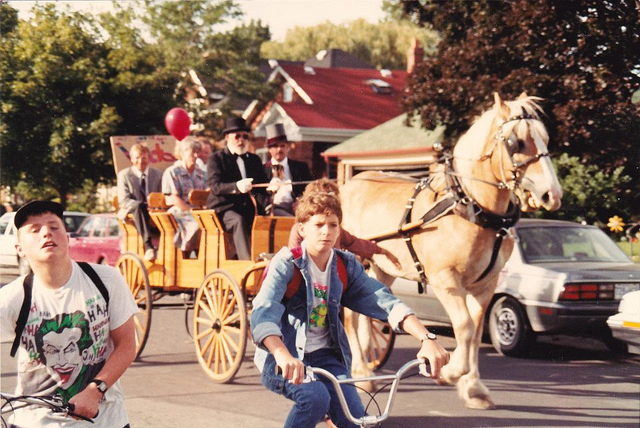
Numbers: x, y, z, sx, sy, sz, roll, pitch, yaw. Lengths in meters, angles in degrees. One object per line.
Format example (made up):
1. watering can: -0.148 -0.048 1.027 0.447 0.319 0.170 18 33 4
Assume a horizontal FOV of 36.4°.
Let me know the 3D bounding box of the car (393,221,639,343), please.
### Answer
1. car: 3.238 0.932 15.823 2.125 1.357 3.370 -1 0 -37

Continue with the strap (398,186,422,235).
1. strap: 1.265 -0.028 13.589 0.107 0.703 0.220 25 -5 -2

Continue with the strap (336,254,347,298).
1. strap: 0.228 0.661 10.599 0.103 0.455 0.142 -9 15 -37

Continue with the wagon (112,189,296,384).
1. wagon: -1.729 1.010 14.435 1.700 2.583 3.005 -6 13 -31

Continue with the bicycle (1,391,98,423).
1. bicycle: -2.800 1.920 9.877 0.781 0.406 0.239 8 28 5

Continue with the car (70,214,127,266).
1. car: -4.288 0.525 18.986 1.040 0.811 1.747 3 1 -44

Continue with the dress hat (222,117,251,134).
1. dress hat: -1.291 -1.388 15.198 0.413 0.275 0.521 -1 10 -7

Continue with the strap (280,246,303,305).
1. strap: -0.292 0.652 10.496 0.217 0.605 0.166 0 12 -4

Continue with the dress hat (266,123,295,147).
1. dress hat: -0.627 -1.268 15.504 0.344 0.207 0.349 -4 2 41
